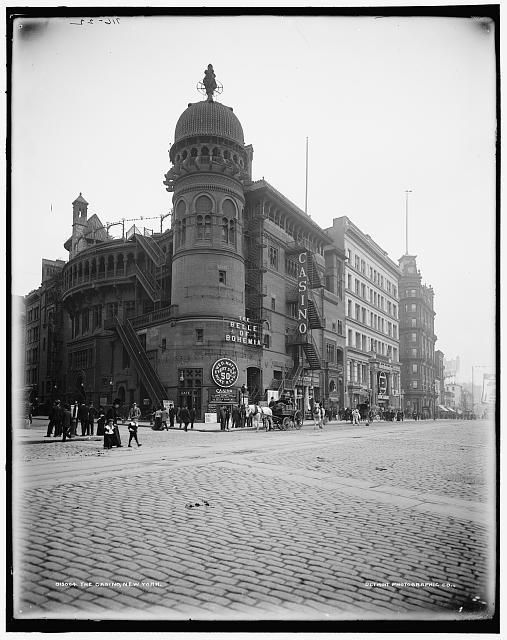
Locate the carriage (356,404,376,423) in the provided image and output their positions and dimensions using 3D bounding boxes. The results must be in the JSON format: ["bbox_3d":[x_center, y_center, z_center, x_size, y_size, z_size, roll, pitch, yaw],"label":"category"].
[{"bbox_3d":[7.670,6.452,50.659,1.231,1.861,2.375,-3,-19,11],"label":"carriage"}]

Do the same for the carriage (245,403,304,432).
[{"bbox_3d":[0.708,4.477,34.238,2.480,1.769,1.746,4,-9,-35],"label":"carriage"}]
